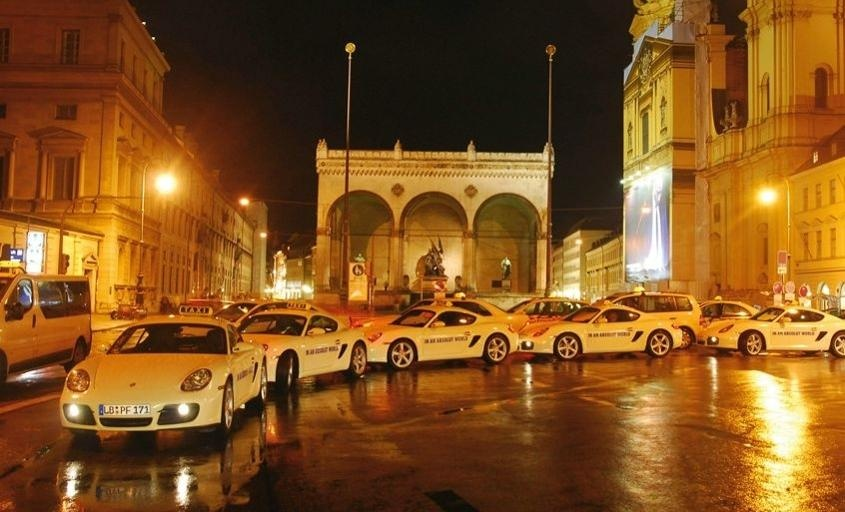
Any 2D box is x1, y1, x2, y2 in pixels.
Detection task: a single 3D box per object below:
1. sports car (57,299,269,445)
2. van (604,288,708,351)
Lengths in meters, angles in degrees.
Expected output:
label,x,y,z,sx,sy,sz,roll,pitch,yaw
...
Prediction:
label,x,y,z,sx,sy,sz,roll,pitch,yaw
sports car,-5.799,2.692,17.188,2.568,2.349,6.488,0,-1,-2
van,9.843,2.826,29.852,5.566,2.694,2.785,1,0,-5
